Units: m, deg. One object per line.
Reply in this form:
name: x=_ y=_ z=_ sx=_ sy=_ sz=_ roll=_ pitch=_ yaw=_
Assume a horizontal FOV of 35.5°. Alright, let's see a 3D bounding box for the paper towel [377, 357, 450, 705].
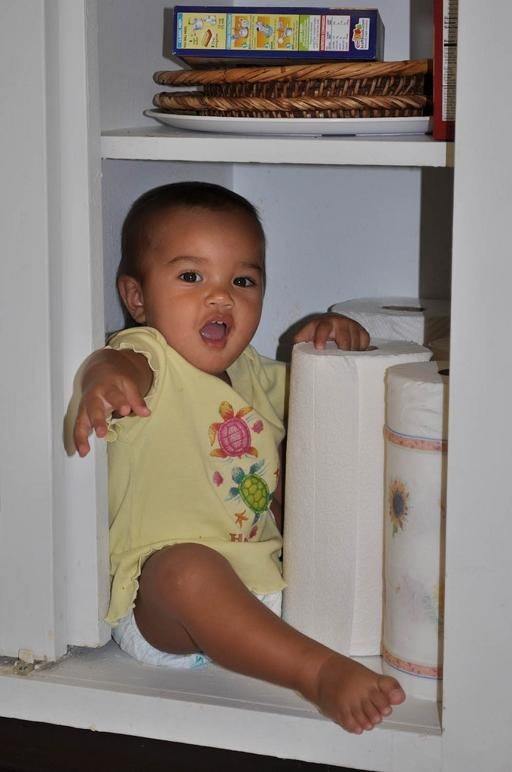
paper towel: x=0.137 y=0.129 z=0.696 sx=0.046 sy=0.279 sz=0.063 roll=1 pitch=6 yaw=1
